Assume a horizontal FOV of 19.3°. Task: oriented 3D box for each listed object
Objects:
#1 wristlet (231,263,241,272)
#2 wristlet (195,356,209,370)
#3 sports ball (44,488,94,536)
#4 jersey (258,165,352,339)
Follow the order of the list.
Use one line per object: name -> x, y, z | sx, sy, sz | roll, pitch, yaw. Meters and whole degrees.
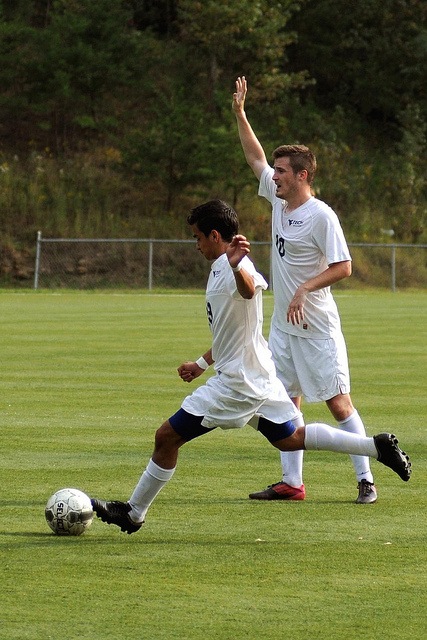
wristlet -> 0.106, -0.273, 6.468 | 0.036, 0.029, 0.036 | -5, 6, -24
wristlet -> -0.063, 0.262, 7.387 | 0.069, 0.051, 0.069 | 39, 17, -24
sports ball -> -0.787, 1.056, 6.885 | 0.265, 0.278, 0.259 | 0, 5, 0
jersey -> 0.557, -0.426, 7.775 | 0.431, 1.069, 0.832 | 0, 2, -9
